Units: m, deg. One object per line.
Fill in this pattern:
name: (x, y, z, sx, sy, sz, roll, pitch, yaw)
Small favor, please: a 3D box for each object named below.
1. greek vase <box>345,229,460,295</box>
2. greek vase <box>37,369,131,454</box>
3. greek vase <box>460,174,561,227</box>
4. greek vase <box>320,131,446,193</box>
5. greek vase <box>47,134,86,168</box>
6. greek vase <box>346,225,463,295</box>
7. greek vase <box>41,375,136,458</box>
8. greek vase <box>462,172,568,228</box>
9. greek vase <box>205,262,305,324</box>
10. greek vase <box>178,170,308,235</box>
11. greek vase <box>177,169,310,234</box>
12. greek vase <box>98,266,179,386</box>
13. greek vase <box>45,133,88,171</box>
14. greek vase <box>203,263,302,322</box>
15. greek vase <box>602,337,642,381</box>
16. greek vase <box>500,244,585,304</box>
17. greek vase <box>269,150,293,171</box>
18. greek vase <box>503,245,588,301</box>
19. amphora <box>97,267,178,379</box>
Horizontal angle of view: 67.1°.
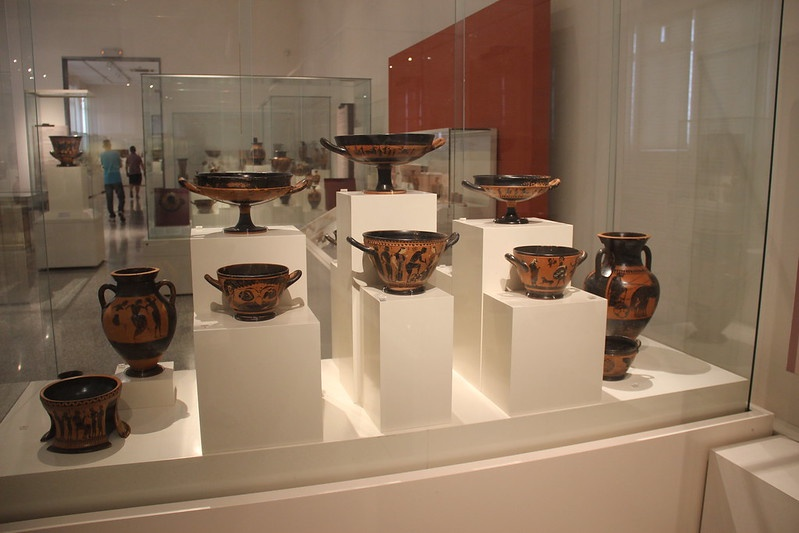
greek vase: (0.013, -0.014, 2.459, 0.496, 0.226, 0.340, -2, 5, -23)
greek vase: (-1.229, 0.559, 2.295, 0.275, 0.171, 0.273, 5, 8, 44)
greek vase: (0.500, -0.317, 2.768, 0.339, 0.213, 0.276, -8, 15, -28)
greek vase: (-0.067, -0.478, 2.495, 0.395, 0.159, 0.292, -1, 9, -10)
greek vase: (-1.376, -0.478, 2.484, 0.119, 0.122, 0.123, 5, 10, 22)
greek vase: (0.011, -0.030, 2.442, 0.393, 0.182, 0.268, 0, 17, -5)
greek vase: (-1.195, 0.565, 2.309, 0.275, 0.178, 0.291, -2, 3, 3)
greek vase: (0.507, -0.345, 2.769, 0.368, 0.160, 0.257, -1, 8, -6)
greek vase: (-0.575, 0.103, 2.365, 0.386, 0.179, 0.274, -3, 12, -20)
greek vase: (-0.616, -0.299, 2.376, 0.398, 0.172, 0.279, -2, 8, -18)
greek vase: (-0.653, -0.309, 2.474, 0.409, 0.176, 0.288, -2, 8, -17)
greek vase: (-1.064, 0.232, 2.465, 0.302, 0.422, 0.262, -5, 8, -20)
greek vase: (-1.378, -0.480, 2.484, 0.121, 0.120, 0.123, 3, 7, 18)
greek vase: (-0.559, 0.092, 2.284, 0.324, 0.147, 0.228, -1, 12, -14)
greek vase: (1.028, 0.429, 2.796, 0.145, 0.178, 0.186, 4, 15, 20)
greek vase: (0.647, 0.037, 2.637, 0.400, 0.205, 0.266, -3, 4, -22)
greek vase: (-0.517, -0.452, 2.601, 0.102, 0.098, 0.079, 1, 2, 22)
greek vase: (0.624, 0.016, 2.626, 0.336, 0.162, 0.227, 0, 12, -3)
amphora: (-1.066, 0.232, 2.466, 0.293, 0.425, 0.263, -3, 8, -17)
